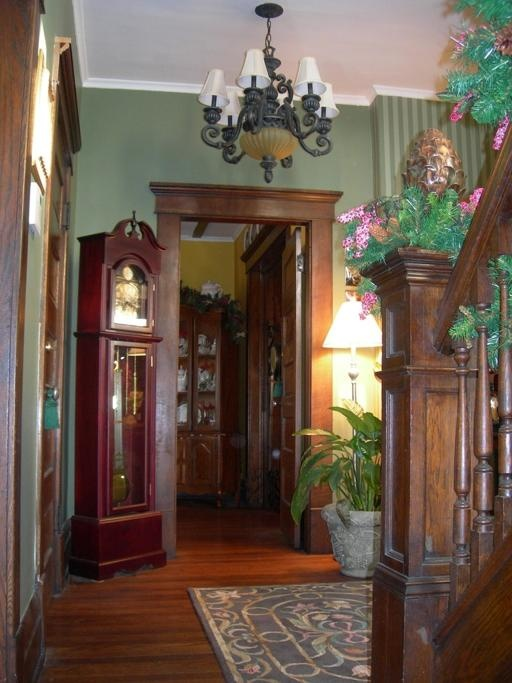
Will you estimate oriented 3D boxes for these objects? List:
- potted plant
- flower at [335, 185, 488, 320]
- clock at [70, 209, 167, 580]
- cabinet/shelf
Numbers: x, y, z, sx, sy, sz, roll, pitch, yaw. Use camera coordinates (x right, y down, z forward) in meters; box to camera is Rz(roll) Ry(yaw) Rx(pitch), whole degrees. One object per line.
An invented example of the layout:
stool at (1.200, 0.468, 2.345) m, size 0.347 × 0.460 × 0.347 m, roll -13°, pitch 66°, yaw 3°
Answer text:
potted plant at (0.473, 0.855, 3.368) m, size 0.520 × 1.008 × 1.130 m, roll -1°, pitch -8°, yaw 11°
flower at (0.340, -0.260, 1.309) m, size 0.290 × 0.265 × 0.341 m, roll -8°, pitch 9°, yaw 14°
clock at (-0.798, 0.286, 3.377) m, size 0.552 × 2.091 × 0.326 m, roll 2°, pitch -8°, yaw -12°
cabinet/shelf at (-0.489, 0.529, 6.181) m, size 0.706 × 2.316 × 0.355 m, roll 1°, pitch -8°, yaw -3°
